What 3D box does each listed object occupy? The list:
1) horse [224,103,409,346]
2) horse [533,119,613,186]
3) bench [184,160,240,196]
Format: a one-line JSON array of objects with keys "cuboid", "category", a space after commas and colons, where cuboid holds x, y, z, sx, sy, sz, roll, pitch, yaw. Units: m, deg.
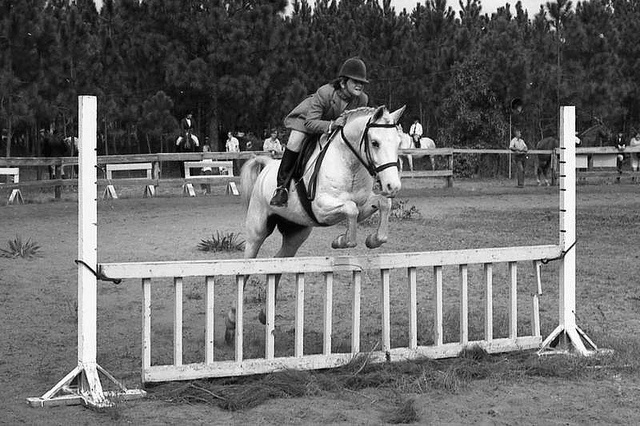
[{"cuboid": [-0.373, 0.272, 16.543, 1.236, 3.563, 4.508, 3, -6, -40], "category": "horse"}, {"cuboid": [8.668, -2.001, 31.730, 1.935, 2.689, 4.719, 4, 7, 25], "category": "horse"}, {"cuboid": [-3.722, -1.226, 31.135, 1.791, 1.356, 1.061, -7, -6, 4], "category": "bench"}]
